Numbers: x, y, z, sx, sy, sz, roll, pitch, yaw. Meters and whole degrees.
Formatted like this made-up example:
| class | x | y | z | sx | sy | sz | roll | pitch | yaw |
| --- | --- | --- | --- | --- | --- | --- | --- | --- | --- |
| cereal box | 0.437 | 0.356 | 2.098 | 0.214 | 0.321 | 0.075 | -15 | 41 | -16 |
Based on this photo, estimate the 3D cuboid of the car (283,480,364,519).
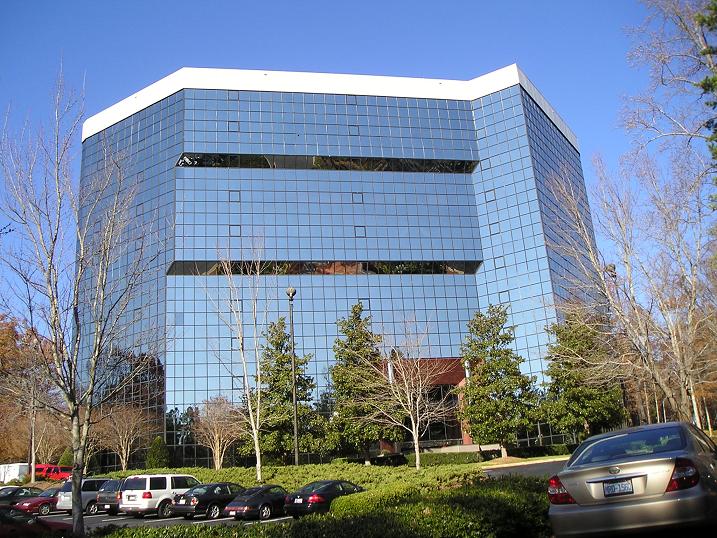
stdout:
| class | x | y | z | sx | sy | sz | roll | pitch | yaw |
| --- | --- | --- | --- | --- | --- | --- | --- | --- | --- |
| car | -1.418 | 8.540 | 22.889 | 2.414 | 1.194 | 1.334 | 1 | -19 | -18 |

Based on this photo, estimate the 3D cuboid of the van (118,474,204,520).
| class | x | y | z | sx | sy | sz | roll | pitch | yaw |
| --- | --- | --- | --- | --- | --- | --- | --- | --- | --- |
| van | -8.964 | 10.520 | 28.124 | 3.625 | 1.571 | 1.998 | 4 | -10 | -43 |

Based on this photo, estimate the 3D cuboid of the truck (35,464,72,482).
| class | x | y | z | sx | sy | sz | roll | pitch | yaw |
| --- | --- | --- | --- | --- | --- | --- | --- | --- | --- |
| truck | -23.881 | 15.926 | 47.971 | 2.172 | 1.492 | 4.231 | 8 | -23 | -35 |

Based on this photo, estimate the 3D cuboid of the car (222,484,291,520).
| class | x | y | z | sx | sy | sz | roll | pitch | yaw |
| --- | --- | --- | --- | --- | --- | --- | --- | --- | --- |
| car | -4.136 | 9.649 | 25.233 | 2.431 | 1.314 | 1.128 | 2 | -19 | -23 |

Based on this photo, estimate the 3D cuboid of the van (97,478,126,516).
| class | x | y | z | sx | sy | sz | roll | pitch | yaw |
| --- | --- | --- | --- | --- | --- | --- | --- | --- | --- |
| van | -11.751 | 10.894 | 29.154 | 1.358 | 1.367 | 2.478 | 1 | -4 | -6 |
